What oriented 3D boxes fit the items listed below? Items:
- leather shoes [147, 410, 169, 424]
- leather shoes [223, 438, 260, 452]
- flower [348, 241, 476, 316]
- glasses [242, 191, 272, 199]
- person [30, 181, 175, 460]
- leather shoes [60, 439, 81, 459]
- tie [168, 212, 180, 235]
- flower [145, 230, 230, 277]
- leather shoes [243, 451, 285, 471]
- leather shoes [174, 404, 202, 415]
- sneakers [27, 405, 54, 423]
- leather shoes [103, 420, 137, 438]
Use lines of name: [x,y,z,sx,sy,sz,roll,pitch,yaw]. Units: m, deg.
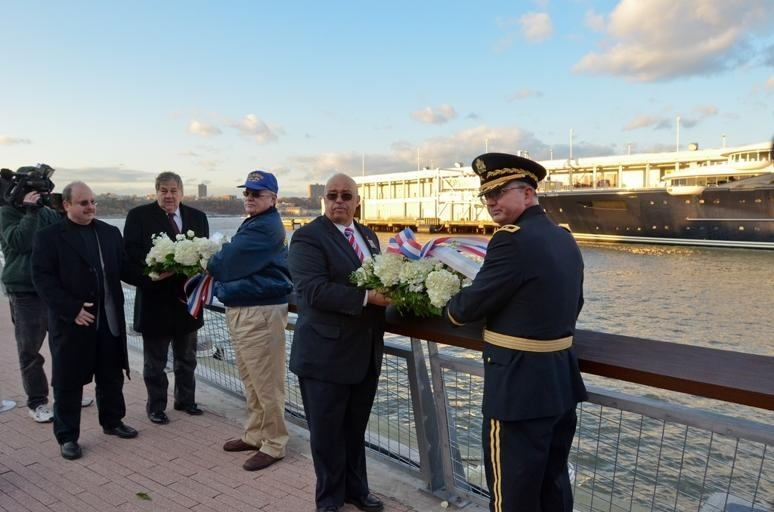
leather shoes: [-2.483,1.787,5.681,0.225,0.092,0.106,3,4,31]
leather shoes: [-1.461,1.909,5.218,0.363,0.139,0.131,9,-4,-9]
flower: [0.189,0.206,3.982,0.674,0.294,0.666,-11,18,-33]
glasses: [-1.211,-0.581,4.958,0.275,0.069,0.110,-5,13,-15]
person: [-2.934,0.608,5.221,1.014,2.620,0.757,-12,16,-35]
leather shoes: [-3.054,1.897,5.054,0.171,0.140,0.222,-11,15,-34]
tie: [-2.442,-0.360,5.977,0.071,0.210,0.154,-9,-5,13]
flower: [-2.081,0.004,5.446,0.648,0.389,0.625,-1,10,13]
leather shoes: [-1.173,1.953,4.918,0.124,0.107,0.310,-2,-9,45]
leather shoes: [-2.255,1.760,5.955,0.294,0.119,0.133,3,3,12]
sneakers: [-3.792,1.773,5.776,0.366,0.151,0.139,-1,-6,32]
leather shoes: [-2.747,1.832,5.388,0.374,0.151,0.149,5,3,1]
